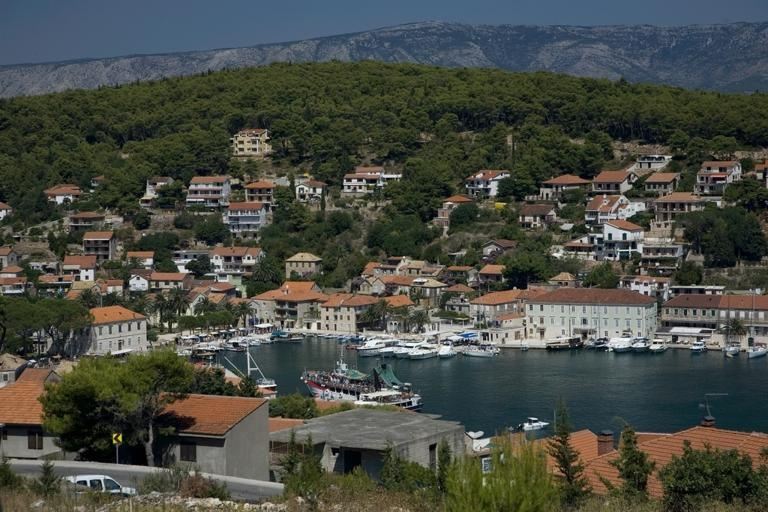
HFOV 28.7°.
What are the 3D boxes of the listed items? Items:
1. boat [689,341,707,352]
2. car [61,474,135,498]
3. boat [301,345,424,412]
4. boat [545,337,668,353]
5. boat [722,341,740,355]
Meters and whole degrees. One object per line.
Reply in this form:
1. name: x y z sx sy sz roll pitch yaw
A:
1. boat: 17.146 4.870 81.720 0.925 0.522 0.543 -6 8 -8
2. car: -11.566 9.178 61.051 2.014 0.939 1.187 0 5 8
3. boat: -1.503 6.410 76.595 6.429 2.215 1.634 8 3 28
4. boat: 12.428 4.859 82.926 6.299 0.855 1.168 -3 8 17
5. boat: 18.854 4.972 81.238 0.809 0.542 1.283 -3 8 16
